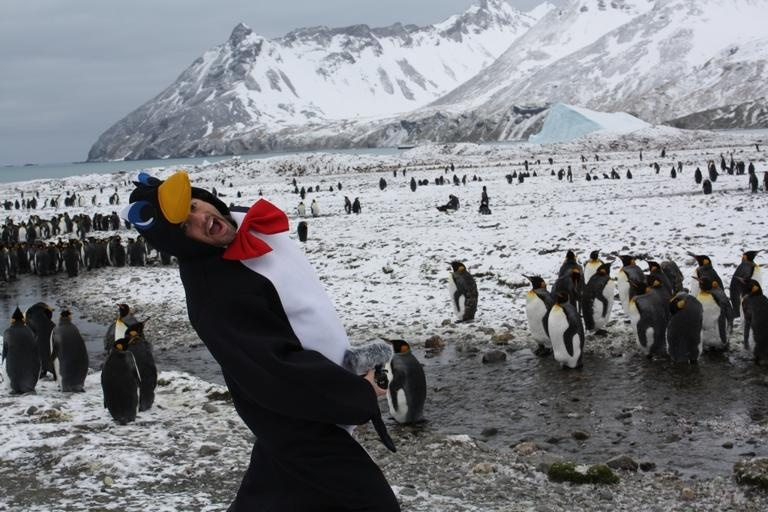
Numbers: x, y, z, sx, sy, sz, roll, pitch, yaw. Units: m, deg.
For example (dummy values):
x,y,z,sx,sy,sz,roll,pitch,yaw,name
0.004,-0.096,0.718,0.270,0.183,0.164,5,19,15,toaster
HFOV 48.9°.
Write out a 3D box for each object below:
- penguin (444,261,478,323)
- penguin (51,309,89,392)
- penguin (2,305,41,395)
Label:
x,y,z,sx,sy,sz,roll,pitch,yaw,name
1.460,0.696,15.763,0.586,1.084,0.604,1,-3,7,penguin
-5.022,1.529,13.364,0.564,1.340,0.410,-4,4,-6,penguin
-5.722,1.478,13.079,0.559,1.403,0.528,-4,4,0,penguin
